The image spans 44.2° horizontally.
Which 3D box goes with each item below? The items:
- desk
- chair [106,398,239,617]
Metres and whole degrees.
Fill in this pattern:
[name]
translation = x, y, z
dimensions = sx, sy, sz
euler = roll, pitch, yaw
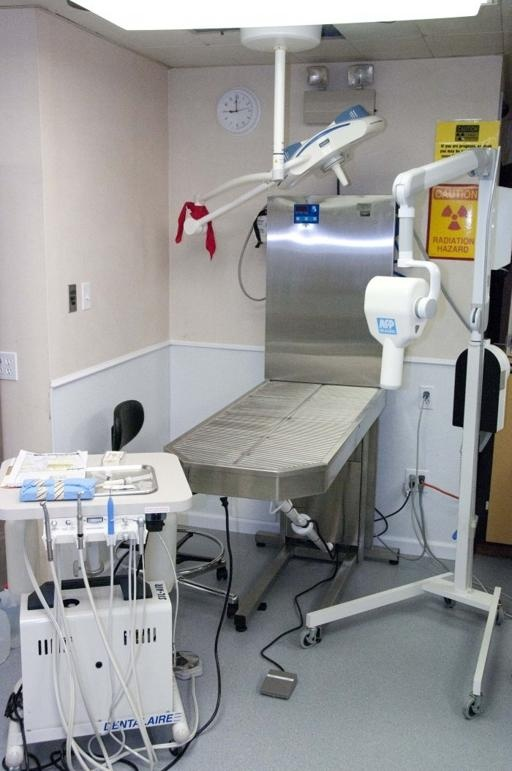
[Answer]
[desk]
translation = 0.141, 0.525, 2.580
dimensions = 0.546, 0.837, 1.077
euler = 2, 16, 23
[chair]
translation = -0.319, 0.502, 2.937
dimensions = 0.520, 0.950, 0.480
euler = -13, 5, 9
